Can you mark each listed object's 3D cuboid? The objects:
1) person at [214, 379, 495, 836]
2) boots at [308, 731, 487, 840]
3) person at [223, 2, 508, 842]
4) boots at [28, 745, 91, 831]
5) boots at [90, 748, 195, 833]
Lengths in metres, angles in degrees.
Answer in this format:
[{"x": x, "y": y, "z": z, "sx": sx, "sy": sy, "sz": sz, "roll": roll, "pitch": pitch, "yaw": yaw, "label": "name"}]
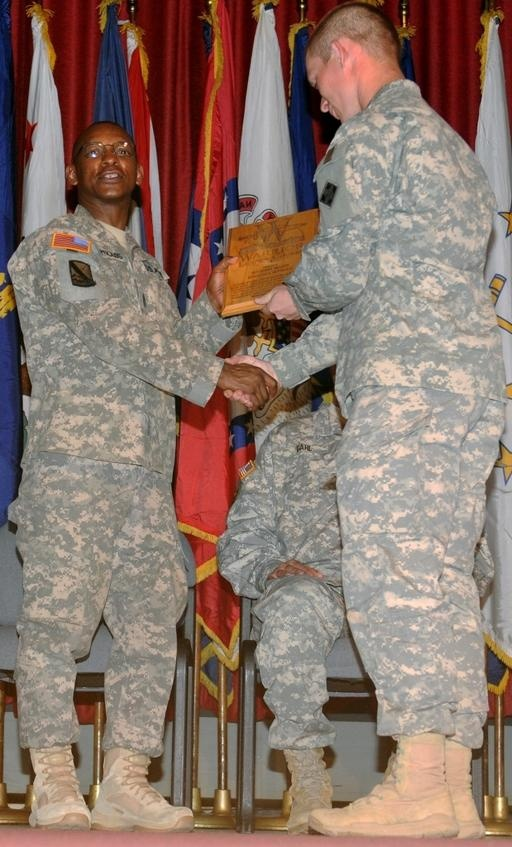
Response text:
[{"x": 0.182, "y": 0.343, "z": 3.314, "sx": 0.650, "sy": 1.302, "sz": 0.351, "roll": 14, "pitch": -32, "yaw": -11, "label": "person"}, {"x": 0.267, "y": 0.685, "z": 2.338, "sx": 0.336, "sy": 0.202, "sz": 0.318, "roll": 0, "pitch": -5, "yaw": 2, "label": "boots"}, {"x": 0.239, "y": -0.084, "z": 2.621, "sx": 0.484, "sy": 1.783, "sz": 0.564, "roll": 5, "pitch": -7, "yaw": -39, "label": "person"}, {"x": -0.439, "y": 0.794, "z": 2.719, "sx": 0.111, "sy": 0.207, "sz": 0.308, "roll": 7, "pitch": -15, "yaw": -18, "label": "boots"}, {"x": -0.262, "y": 0.834, "z": 2.828, "sx": 0.264, "sy": 0.180, "sz": 0.092, "roll": -7, "pitch": -13, "yaw": 32, "label": "boots"}]
